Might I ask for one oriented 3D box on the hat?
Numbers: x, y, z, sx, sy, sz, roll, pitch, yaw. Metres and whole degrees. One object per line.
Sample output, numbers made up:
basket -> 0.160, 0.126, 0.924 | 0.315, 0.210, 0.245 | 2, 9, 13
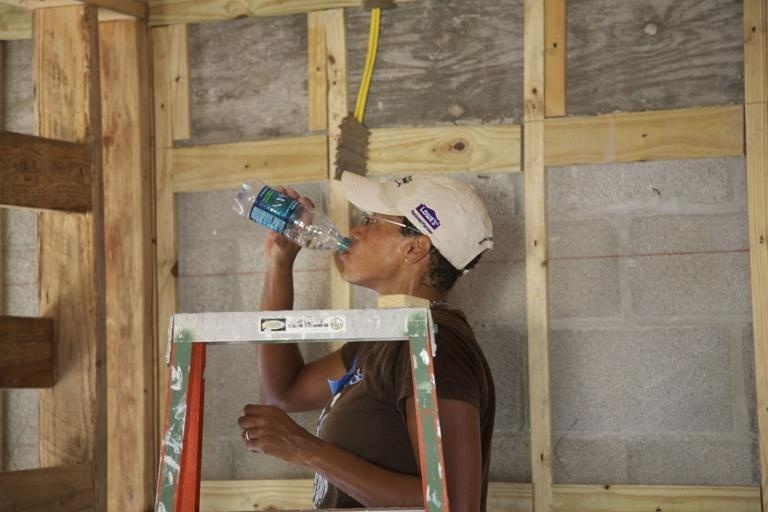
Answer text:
hat -> 0.131, -0.215, 4.706 | 0.596, 0.384, 0.292 | 33, 101, -5

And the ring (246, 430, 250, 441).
ring -> -0.468, 0.603, 4.204 | 0.012, 0.021, 0.029 | 4, 90, -5
